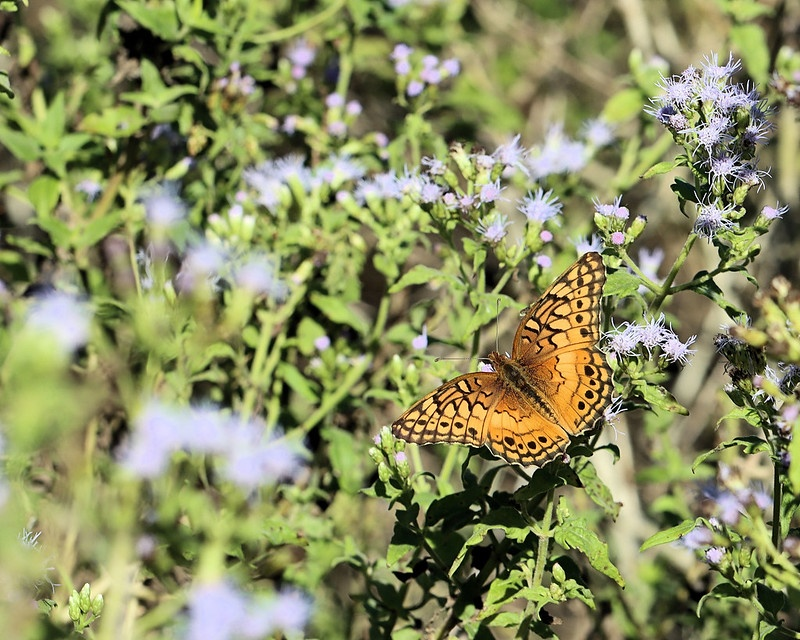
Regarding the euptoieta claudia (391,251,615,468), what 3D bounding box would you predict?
[{"bbox_3d":[0.320,0.169,2.520,0.705,0.149,0.374,-41,46,-17],"label":"euptoieta claudia"}]
